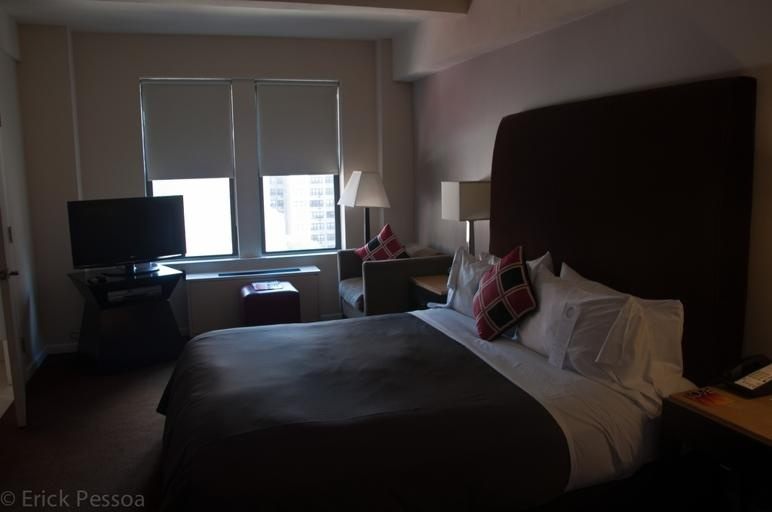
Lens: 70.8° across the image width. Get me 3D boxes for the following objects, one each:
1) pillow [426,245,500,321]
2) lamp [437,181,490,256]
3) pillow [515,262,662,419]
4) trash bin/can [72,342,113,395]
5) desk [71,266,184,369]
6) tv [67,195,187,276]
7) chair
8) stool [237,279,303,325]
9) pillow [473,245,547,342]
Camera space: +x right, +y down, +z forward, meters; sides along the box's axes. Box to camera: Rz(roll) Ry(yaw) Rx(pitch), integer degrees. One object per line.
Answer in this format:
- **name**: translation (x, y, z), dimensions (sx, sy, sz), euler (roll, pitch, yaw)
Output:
- **pillow**: translation (0.666, 0.228, 4.674), dimensions (0.165, 0.549, 0.522), euler (5, 15, -39)
- **lamp**: translation (0.846, -0.297, 5.423), dimensions (0.494, 0.842, 0.477), euler (-4, 4, -28)
- **pillow**: translation (1.327, 0.453, 3.992), dimensions (0.576, 0.486, 1.194), euler (-12, 13, -18)
- **trash bin/can**: translation (-2.923, 1.087, 5.391), dimensions (0.276, 0.312, 0.950), euler (-7, 9, -31)
- **desk**: translation (-2.722, 0.628, 5.868), dimensions (1.085, 0.981, 0.952), euler (-6, 8, -41)
- **tv**: translation (-2.653, -0.211, 5.539), dimensions (0.824, 0.578, 0.238), euler (-6, 7, -33)
- **chair**: translation (0.065, 0.256, 6.079), dimensions (0.963, 0.803, 0.921), euler (-2, 7, -21)
- **stool**: translation (-1.359, 0.585, 6.284), dimensions (0.667, 0.502, 0.669), euler (-8, 11, -33)
- **pillow**: translation (0.900, 0.319, 4.115), dimensions (0.200, 0.612, 0.661), euler (24, -42, -22)
